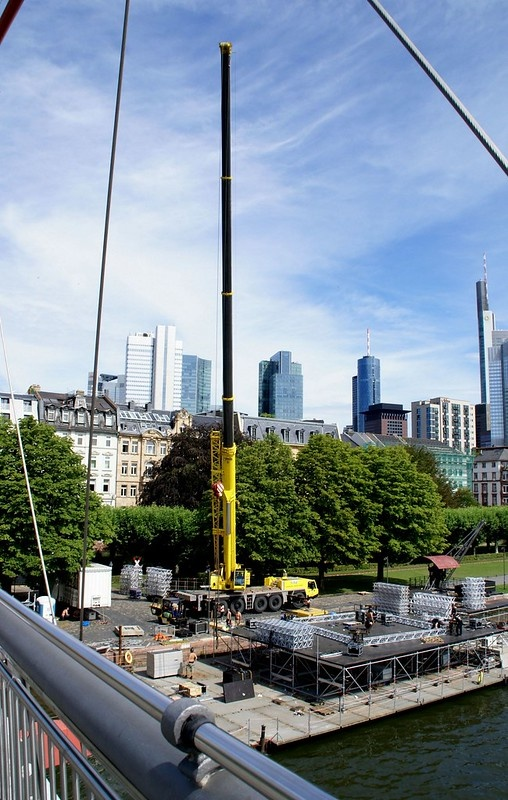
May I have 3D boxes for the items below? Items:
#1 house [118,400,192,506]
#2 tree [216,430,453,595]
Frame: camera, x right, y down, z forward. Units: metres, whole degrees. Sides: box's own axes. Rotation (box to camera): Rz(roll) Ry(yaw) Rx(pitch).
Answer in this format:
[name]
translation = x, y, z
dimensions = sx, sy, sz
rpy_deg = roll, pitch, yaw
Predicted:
[house]
translation = -9.429, 5.070, 76.084
dimensions = 9.740, 9.100, 5.890
rpy_deg = 6, -10, -42
[tree]
translation = 2.552, 6.318, 53.943
dimensions = 9.507, 8.019, 11.930
rpy_deg = 1, -4, -37
